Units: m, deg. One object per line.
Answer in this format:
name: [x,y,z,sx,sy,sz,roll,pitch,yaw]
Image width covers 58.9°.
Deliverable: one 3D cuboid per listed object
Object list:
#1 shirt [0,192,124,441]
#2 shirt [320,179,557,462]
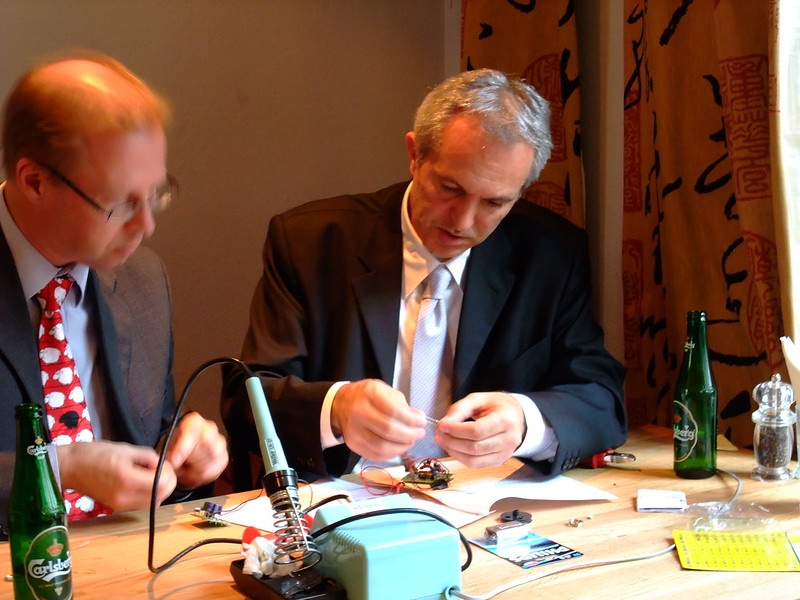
shirt: [-0.858,0.058,1.803,0.174,0.655,0.108,-15,22,-28]
shirt: [0.138,0.082,2.046,0.516,0.720,0.205,6,-11,-16]
